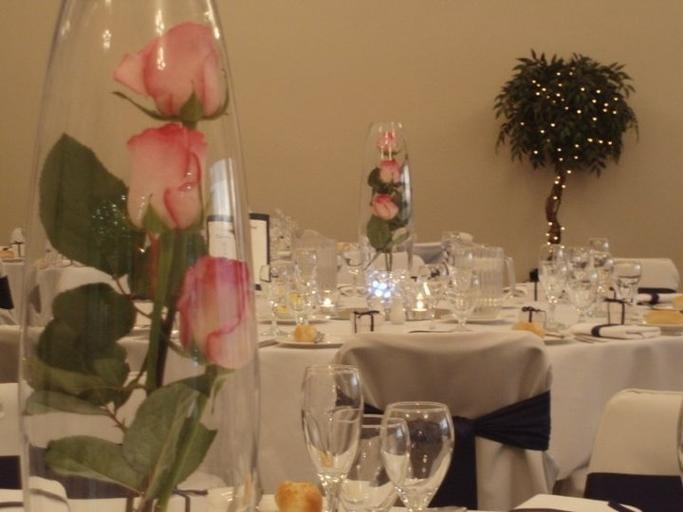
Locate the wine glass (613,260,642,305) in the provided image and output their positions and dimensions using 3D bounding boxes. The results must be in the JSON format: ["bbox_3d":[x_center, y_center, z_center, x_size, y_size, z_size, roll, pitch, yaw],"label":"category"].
[{"bbox_3d":[0.919,0.093,2.239,0.091,0.176,0.103,-3,12,6],"label":"wine glass"}]

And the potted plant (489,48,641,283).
[{"bbox_3d":[2.128,-1.076,6.668,1.294,1.939,0.744,0,-4,14],"label":"potted plant"}]

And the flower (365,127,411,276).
[{"bbox_3d":[0.168,-0.218,2.474,0.170,0.581,0.390,1,-5,5],"label":"flower"}]

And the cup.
[{"bbox_3d":[0.489,0.088,2.170,0.112,0.216,0.181,2,2,-19],"label":"cup"}]

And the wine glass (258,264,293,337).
[{"bbox_3d":[-0.244,0.148,2.188,0.120,0.224,0.127,-12,2,-1],"label":"wine glass"}]

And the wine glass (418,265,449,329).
[{"bbox_3d":[0.268,0.132,2.150,0.095,0.212,0.105,-5,9,6],"label":"wine glass"}]

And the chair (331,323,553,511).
[{"bbox_3d":[0.233,0.271,1.550,0.325,0.455,0.405,1,17,8],"label":"chair"}]

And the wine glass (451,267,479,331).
[{"bbox_3d":[0.350,0.123,1.991,0.095,0.193,0.112,6,6,27],"label":"wine glass"}]
